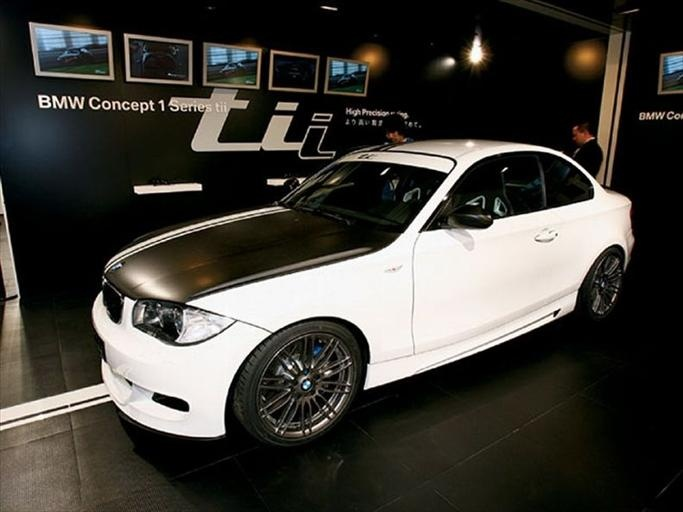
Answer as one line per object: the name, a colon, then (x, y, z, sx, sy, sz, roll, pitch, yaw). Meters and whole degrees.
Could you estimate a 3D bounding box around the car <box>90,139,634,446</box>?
car: (0.545, 0.068, 3.927, 4.564, 1.510, 2.010, -7, 18, -30)
